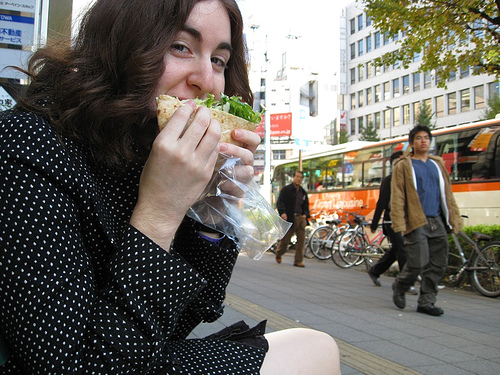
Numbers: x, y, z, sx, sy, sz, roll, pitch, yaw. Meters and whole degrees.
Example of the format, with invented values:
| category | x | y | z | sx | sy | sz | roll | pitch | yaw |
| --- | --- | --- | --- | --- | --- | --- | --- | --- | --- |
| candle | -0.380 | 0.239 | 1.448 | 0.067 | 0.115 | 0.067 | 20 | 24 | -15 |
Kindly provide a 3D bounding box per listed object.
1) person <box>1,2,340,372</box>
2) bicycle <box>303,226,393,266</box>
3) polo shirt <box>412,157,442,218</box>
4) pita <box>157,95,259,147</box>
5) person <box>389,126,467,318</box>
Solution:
| category | x | y | z | sx | sy | sz | roll | pitch | yaw |
| --- | --- | --- | --- | --- | --- | --- | --- | --- | --- |
| person | -0.317 | -0.103 | 1.468 | 0.979 | 1.336 | 0.658 | 6 | -5 | -24 |
| bicycle | 2.826 | 1.495 | 12.403 | 2.491 | 1.545 | 1.169 | 11 | -3 | -30 |
| polo shirt | 2.854 | 0.004 | 6.655 | 0.544 | 0.963 | 0.274 | 6 | -6 | -30 |
| pita | -0.167 | -0.228 | 1.609 | 0.190 | 0.187 | 0.550 | 1 | -5 | 25 |
| person | 2.779 | 0.481 | 6.594 | 1.169 | 3.027 | 0.584 | 4 | -5 | -7 |
